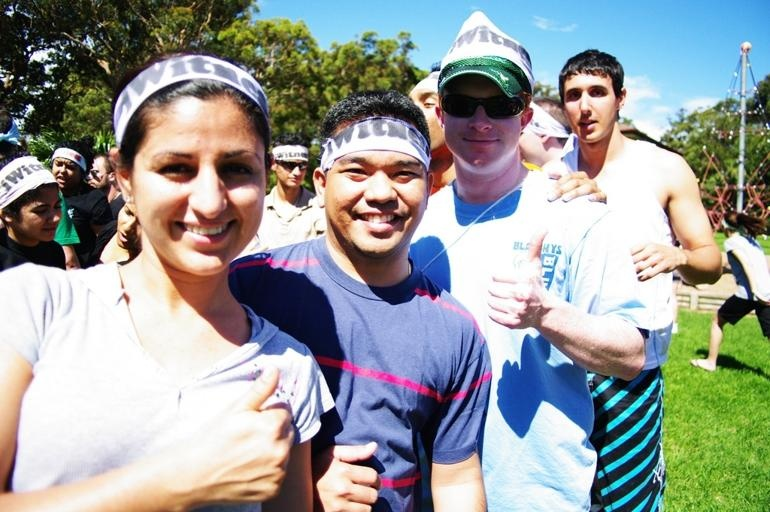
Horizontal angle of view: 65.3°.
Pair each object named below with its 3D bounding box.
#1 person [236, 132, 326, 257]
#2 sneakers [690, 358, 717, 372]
[{"bbox_3d":[-1.318,-0.636,7.955,1.136,1.929,0.947,5,-16,-7],"label":"person"},{"bbox_3d":[4.965,1.676,9.408,0.159,0.277,0.348,-2,8,-24],"label":"sneakers"}]
